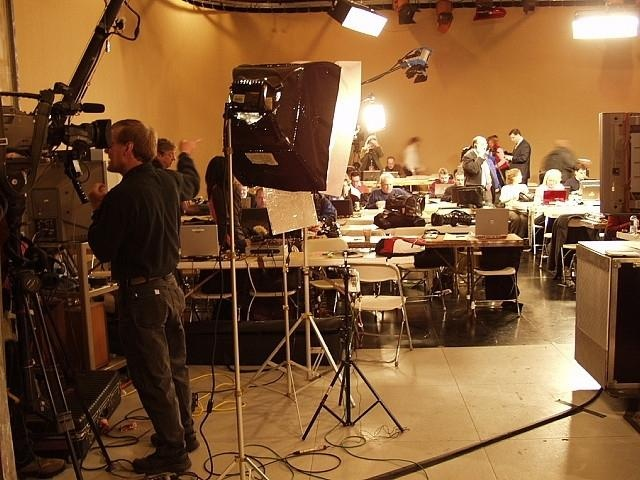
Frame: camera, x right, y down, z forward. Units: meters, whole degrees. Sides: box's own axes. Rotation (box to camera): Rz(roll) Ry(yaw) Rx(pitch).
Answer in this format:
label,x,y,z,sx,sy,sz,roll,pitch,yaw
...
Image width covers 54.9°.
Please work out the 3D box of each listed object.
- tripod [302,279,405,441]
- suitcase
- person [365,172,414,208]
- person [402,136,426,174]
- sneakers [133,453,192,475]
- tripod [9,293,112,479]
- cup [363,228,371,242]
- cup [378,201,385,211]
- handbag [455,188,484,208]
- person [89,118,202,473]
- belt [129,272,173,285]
label,x,y,z,sx,sy,sz,roll,pitch,yaw
tripod,0.279,1.042,5.220,0.820,1.345,0.761,-2,18,-5
suitcase,-1.695,1.122,4.155,0.445,0.112,0.469,-2,35,2
person,1.121,-0.824,10.218,0.679,0.603,0.379,-14,23,-14
person,2.157,-1.971,14.345,0.454,0.828,0.975,0,12,8
sneakers,-1.031,1.474,4.104,0.370,0.184,0.147,5,-2,-4
tripod,-1.766,1.025,4.159,0.609,1.034,1.009,2,-28,-14
cup,0.546,-0.045,7.265,0.113,0.176,0.119,-3,3,0
cup,0.967,-0.530,9.656,0.129,0.099,0.127,0,-2,0
handbag,2.310,-0.665,9.428,0.300,0.224,0.331,2,7,25
person,-1.152,0.382,4.006,0.555,2.271,0.530,-5,12,-12
belt,-1.076,0.254,3.981,0.314,0.072,0.090,-10,15,-33
